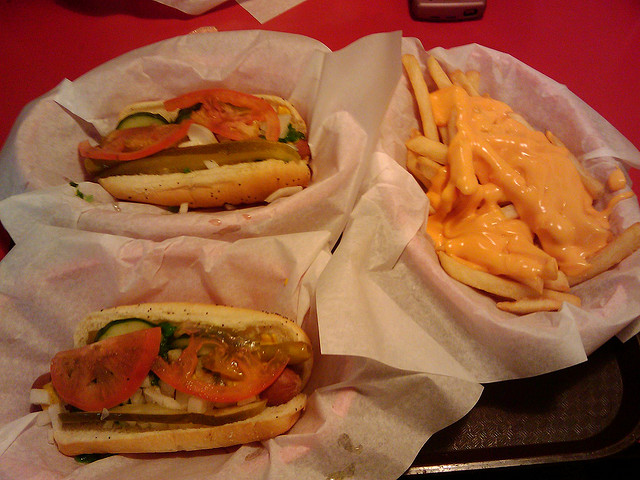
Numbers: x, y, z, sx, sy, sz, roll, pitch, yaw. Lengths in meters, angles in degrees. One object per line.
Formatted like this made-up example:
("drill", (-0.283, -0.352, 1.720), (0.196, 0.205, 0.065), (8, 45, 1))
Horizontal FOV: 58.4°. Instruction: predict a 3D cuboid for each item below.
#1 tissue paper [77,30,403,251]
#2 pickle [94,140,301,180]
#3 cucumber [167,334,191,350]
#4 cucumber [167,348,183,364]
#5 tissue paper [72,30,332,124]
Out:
("tissue paper", (-0.163, -0.729, 2.688), (1.309, 0.350, 1.317), (-4, 50, 18))
("pickle", (-0.638, -0.397, 3.091), (1.170, 0.227, 0.196), (-10, 31, -18))
("cucumber", (-0.656, 0.477, 2.669), (0.087, 0.031, 0.065), (-25, 24, 20))
("cucumber", (-0.678, 0.529, 2.628), (0.057, 0.027, 0.067), (1, 78, 3))
("tissue paper", (-0.533, -0.782, 3.503), (0.946, 0.578, 0.166), (7, 87, 46))
